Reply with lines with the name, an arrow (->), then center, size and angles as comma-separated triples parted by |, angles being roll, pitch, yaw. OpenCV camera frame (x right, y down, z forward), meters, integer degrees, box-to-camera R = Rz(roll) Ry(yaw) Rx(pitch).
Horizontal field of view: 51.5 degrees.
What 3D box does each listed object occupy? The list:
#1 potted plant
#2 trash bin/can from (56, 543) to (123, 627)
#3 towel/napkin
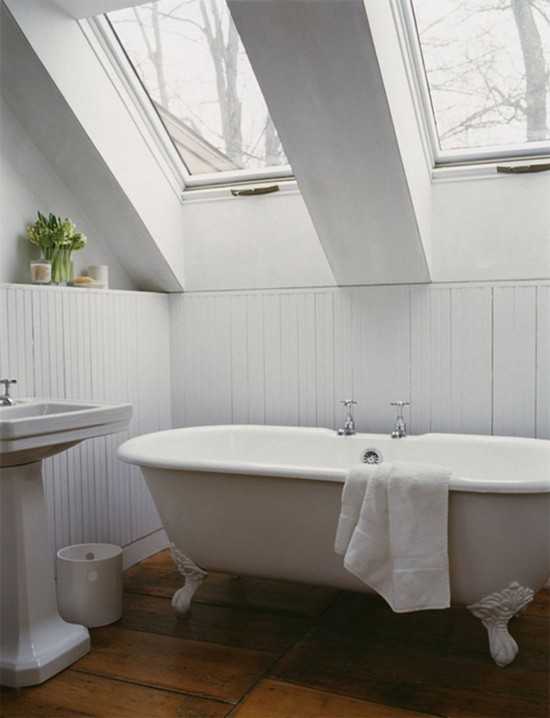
potted plant -> -0.993, -0.501, 2.570 | 0.257, 0.297, 0.227 | -1, 3, 33
trash bin/can -> -0.695, 0.877, 2.291 | 0.268, 0.299, 0.278 | 0, 1, 0
towel/napkin -> 0.370, 0.527, 1.724 | 0.434, 0.435, 0.161 | 4, 2, 16
